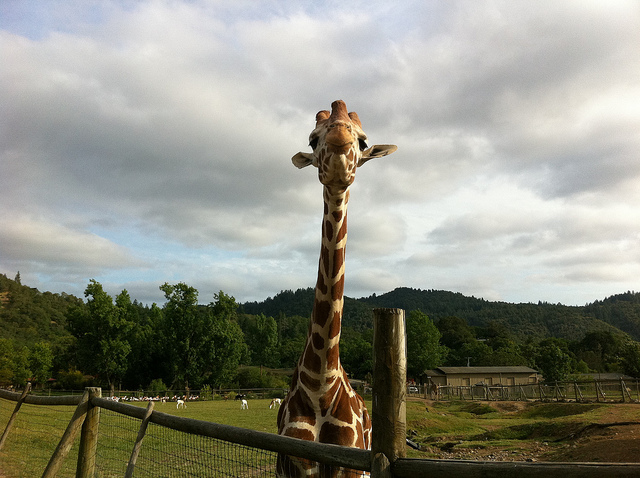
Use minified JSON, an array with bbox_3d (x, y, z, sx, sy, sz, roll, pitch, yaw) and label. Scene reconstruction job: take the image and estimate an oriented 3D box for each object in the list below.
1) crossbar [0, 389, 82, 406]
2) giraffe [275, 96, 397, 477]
[{"bbox_3d":[-5.852,3.278,10.632,3.216,0.262,0.472,-12,-24,40],"label":"crossbar"},{"bbox_3d":[0.212,0.619,9.665,1.624,6.130,2.589,3,-16,2],"label":"giraffe"}]
